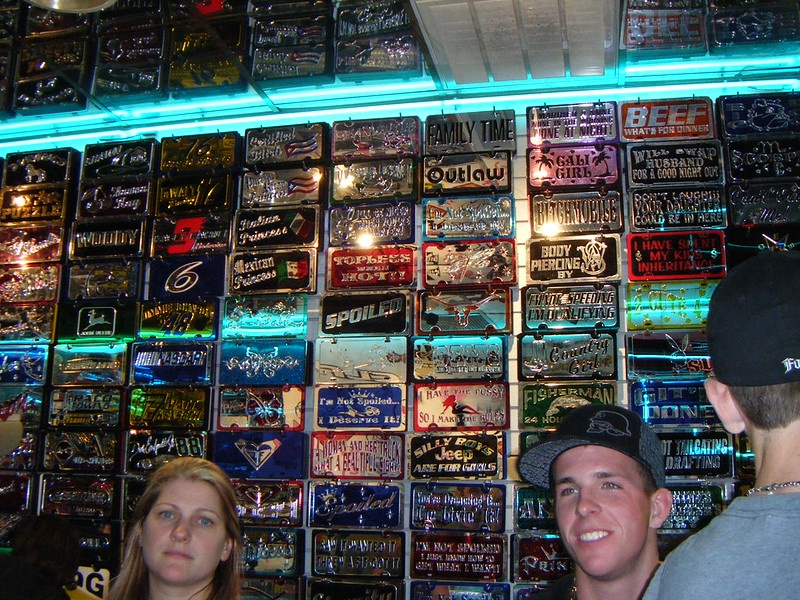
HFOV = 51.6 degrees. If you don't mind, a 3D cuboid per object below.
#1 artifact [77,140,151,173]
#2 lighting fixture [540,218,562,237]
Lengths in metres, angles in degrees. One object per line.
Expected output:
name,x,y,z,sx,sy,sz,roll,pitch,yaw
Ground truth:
artifact,-2.014,-1.005,5.964,0.641,0.293,0.071,0,-12,22
lighting fixture,0.956,-0.447,5.258,0.116,0.093,0.023,-3,-6,-1
